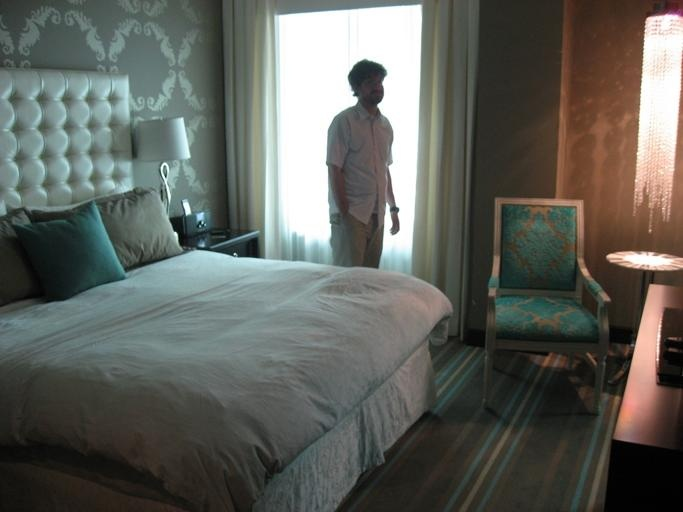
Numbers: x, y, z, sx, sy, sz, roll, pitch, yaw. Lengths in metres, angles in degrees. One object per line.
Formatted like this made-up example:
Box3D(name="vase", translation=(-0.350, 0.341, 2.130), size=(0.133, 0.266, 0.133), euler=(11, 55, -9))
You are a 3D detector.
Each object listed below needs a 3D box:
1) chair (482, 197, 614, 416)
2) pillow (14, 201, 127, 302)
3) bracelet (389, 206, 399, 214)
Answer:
Box3D(name="chair", translation=(1.389, 0.257, 3.623), size=(0.795, 1.213, 0.976), euler=(2, 13, 18))
Box3D(name="pillow", translation=(-1.556, -0.003, 3.122), size=(0.206, 0.429, 0.444), euler=(-6, 11, 38))
Box3D(name="bracelet", translation=(0.406, -0.357, 4.250), size=(0.048, 0.041, 0.066), euler=(-1, 8, 0))
